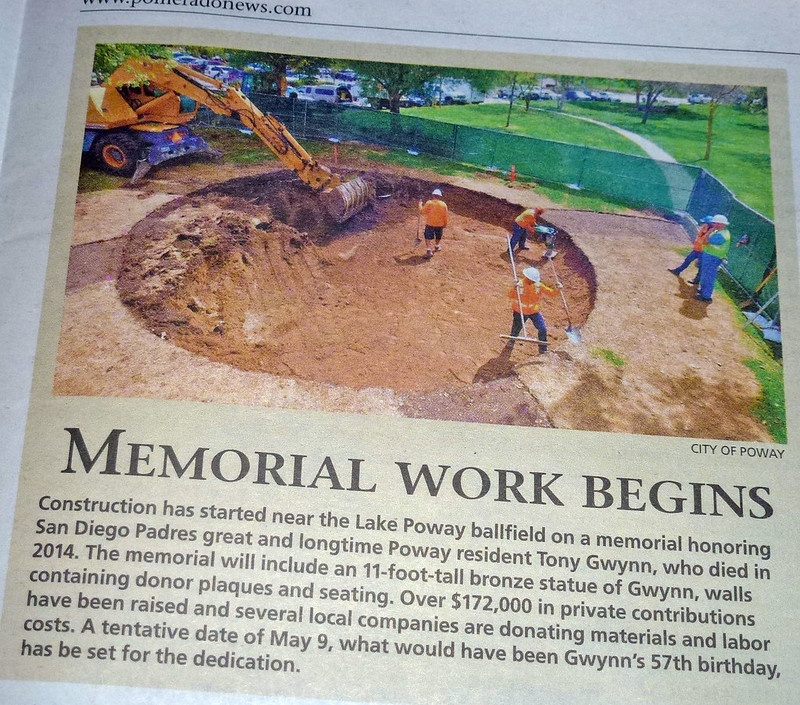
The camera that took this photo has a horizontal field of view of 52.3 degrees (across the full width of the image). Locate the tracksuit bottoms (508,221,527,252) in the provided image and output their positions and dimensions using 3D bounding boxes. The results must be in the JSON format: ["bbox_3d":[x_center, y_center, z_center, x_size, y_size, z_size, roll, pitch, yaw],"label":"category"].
[{"bbox_3d":[1.130,-1.096,7.741,0.135,0.361,0.156,-14,66,6],"label":"tracksuit bottoms"}]

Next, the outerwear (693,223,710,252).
[{"bbox_3d":[2.455,-0.928,6.545,0.073,0.190,0.147,18,-11,44],"label":"outerwear"}]

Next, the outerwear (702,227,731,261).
[{"bbox_3d":[2.523,-0.849,6.417,0.142,0.219,0.176,9,38,-25],"label":"outerwear"}]

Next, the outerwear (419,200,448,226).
[{"bbox_3d":[0.342,-1.358,7.884,0.330,0.310,0.189,1,48,3],"label":"outerwear"}]
